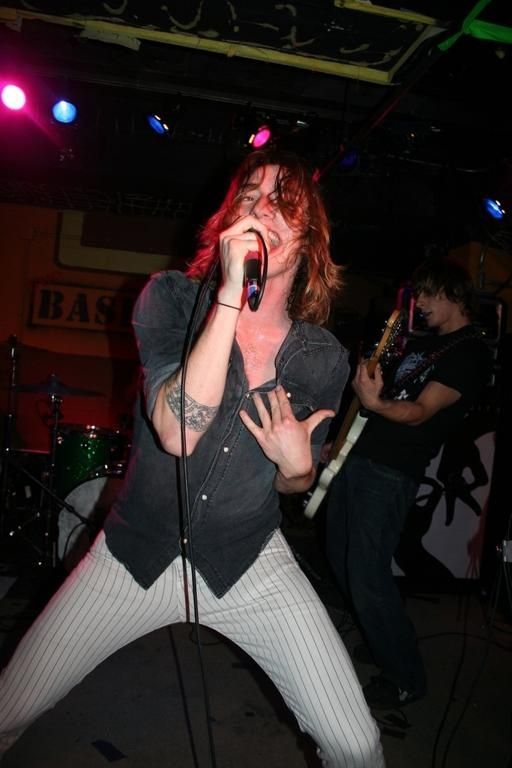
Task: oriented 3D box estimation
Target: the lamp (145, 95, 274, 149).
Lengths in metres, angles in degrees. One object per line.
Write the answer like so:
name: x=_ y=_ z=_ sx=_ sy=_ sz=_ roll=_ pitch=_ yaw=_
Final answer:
lamp: x=-0.303 y=-2.005 z=4.502 sx=1.005 sy=0.289 sz=0.440 roll=13 pitch=10 yaw=17
